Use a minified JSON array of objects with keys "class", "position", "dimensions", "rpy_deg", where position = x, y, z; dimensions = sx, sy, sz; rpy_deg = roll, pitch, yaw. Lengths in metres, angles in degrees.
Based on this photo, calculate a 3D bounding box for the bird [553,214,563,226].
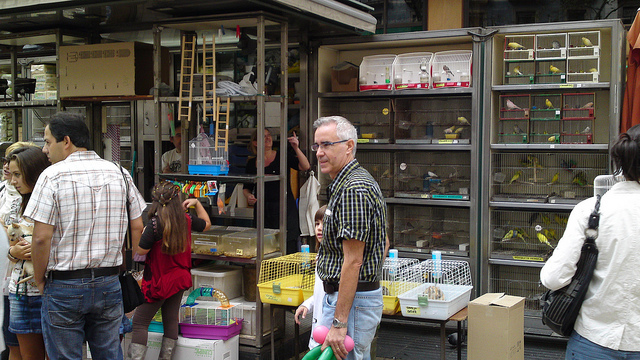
[{"class":"bird","position":[3.338,0.557,7.694],"dimensions":[0.101,0.135,0.039],"rpy_deg":[3,5,20]}]

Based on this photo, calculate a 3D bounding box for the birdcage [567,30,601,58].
[{"class":"birdcage","position":[3.574,-1.816,7.438],"dimensions":[0.408,0.360,0.480],"rpy_deg":[3,5,26]}]

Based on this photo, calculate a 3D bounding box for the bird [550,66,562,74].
[{"class":"bird","position":[3.228,-1.508,7.547],"dimensions":[0.146,0.112,0.345],"rpy_deg":[3,6,27]}]

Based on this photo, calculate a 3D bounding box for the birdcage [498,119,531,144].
[{"class":"birdcage","position":[2.754,-0.696,7.757],"dimensions":[0.442,0.322,0.255],"rpy_deg":[4,19,40]}]

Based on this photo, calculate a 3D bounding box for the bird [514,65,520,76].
[{"class":"bird","position":[2.733,-1.519,7.637],"dimensions":[0.066,0.136,0.237],"rpy_deg":[3,5,20]}]

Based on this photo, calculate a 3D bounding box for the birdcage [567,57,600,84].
[{"class":"birdcage","position":[3.609,-1.532,7.526],"dimensions":[0.153,0.410,0.452],"rpy_deg":[-5,10,-44]}]

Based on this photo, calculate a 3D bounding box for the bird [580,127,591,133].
[{"class":"bird","position":[3.582,-0.664,7.426],"dimensions":[0.054,0.071,0.167],"rpy_deg":[-24,14,-6]}]

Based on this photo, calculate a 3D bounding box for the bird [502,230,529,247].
[{"class":"bird","position":[2.765,0.810,7.781],"dimensions":[0.404,0.217,0.128],"rpy_deg":[-1,5,-24]}]

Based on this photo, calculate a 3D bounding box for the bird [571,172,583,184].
[{"class":"bird","position":[3.602,-0.021,7.698],"dimensions":[0.133,0.155,0.129],"rpy_deg":[2,5,19]}]

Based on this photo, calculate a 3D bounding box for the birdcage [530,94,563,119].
[{"class":"birdcage","position":[3.173,-1.017,7.675],"dimensions":[0.465,0.332,0.255],"rpy_deg":[4,9,38]}]

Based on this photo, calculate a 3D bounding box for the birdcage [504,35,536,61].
[{"class":"birdcage","position":[2.802,-1.814,7.576],"dimensions":[0.137,0.338,0.407],"rpy_deg":[-22,23,-40]}]

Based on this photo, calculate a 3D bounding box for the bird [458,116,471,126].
[{"class":"bird","position":[2.087,-0.857,8.010],"dimensions":[0.165,0.135,0.255],"rpy_deg":[4,6,29]}]

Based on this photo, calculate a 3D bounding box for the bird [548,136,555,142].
[{"class":"bird","position":[3.147,-0.554,7.474],"dimensions":[0.060,0.088,0.165],"rpy_deg":[-15,2,9]}]

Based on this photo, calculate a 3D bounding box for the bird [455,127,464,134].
[{"class":"bird","position":[1.998,-0.712,7.916],"dimensions":[0.163,0.044,0.091],"rpy_deg":[-5,29,-43]}]

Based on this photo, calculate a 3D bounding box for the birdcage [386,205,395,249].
[{"class":"birdcage","position":[1.053,0.688,8.137],"dimensions":[0.108,0.626,0.192],"rpy_deg":[2,5,8]}]

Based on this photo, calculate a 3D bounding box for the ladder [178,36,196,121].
[{"class":"ladder","position":[-1.763,-1.361,7.400],"dimensions":[0.218,1.387,0.175],"rpy_deg":[0,0,8]}]

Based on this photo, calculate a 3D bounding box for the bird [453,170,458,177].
[{"class":"bird","position":[2.015,-0.091,8.163],"dimensions":[0.071,0.068,0.042],"rpy_deg":[2,-1,4]}]

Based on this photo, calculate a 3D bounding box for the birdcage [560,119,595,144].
[{"class":"birdcage","position":[3.488,-0.653,7.464],"dimensions":[0.436,0.334,0.511],"rpy_deg":[3,5,25]}]

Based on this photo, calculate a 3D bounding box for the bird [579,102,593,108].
[{"class":"bird","position":[3.609,-1.001,7.450],"dimensions":[0.166,0.050,0.069],"rpy_deg":[-16,40,-26]}]

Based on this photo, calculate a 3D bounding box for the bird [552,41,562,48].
[{"class":"bird","position":[3.236,-1.834,7.508],"dimensions":[0.133,0.128,0.097],"rpy_deg":[-4,5,0]}]

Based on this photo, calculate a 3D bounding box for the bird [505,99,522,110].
[{"class":"bird","position":[2.670,-1.047,7.617],"dimensions":[0.206,0.156,0.444],"rpy_deg":[2,5,18]}]

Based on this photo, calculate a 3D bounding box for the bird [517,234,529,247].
[{"class":"bird","position":[2.859,0.834,7.777],"dimensions":[0.129,0.134,0.123],"rpy_deg":[3,5,20]}]

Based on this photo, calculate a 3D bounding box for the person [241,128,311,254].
[{"class":"person","position":[-0.594,0.180,7.631],"dimensions":[0.957,1.726,0.850],"rpy_deg":[0,5,-7]}]

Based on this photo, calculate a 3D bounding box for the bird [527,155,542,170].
[{"class":"bird","position":[3.074,-0.247,7.861],"dimensions":[0.060,0.049,0.456],"rpy_deg":[26,1,44]}]

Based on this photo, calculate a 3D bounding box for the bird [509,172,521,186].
[{"class":"bird","position":[2.766,-0.027,7.811],"dimensions":[0.119,0.161,0.322],"rpy_deg":[3,5,21]}]

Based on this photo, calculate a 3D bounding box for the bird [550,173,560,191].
[{"class":"bird","position":[3.297,-0.027,7.733],"dimensions":[0.062,0.130,0.290],"rpy_deg":[4,6,33]}]

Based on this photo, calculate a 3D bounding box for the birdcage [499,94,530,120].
[{"class":"birdcage","position":[2.704,-0.997,7.595],"dimensions":[0.416,0.343,0.141],"rpy_deg":[4,10,35]}]

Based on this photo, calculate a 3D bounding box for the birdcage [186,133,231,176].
[{"class":"birdcage","position":[-1.466,-0.352,7.387],"dimensions":[0.520,0.532,0.337],"rpy_deg":[0,7,14]}]

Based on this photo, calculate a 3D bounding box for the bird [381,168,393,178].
[{"class":"bird","position":[0.950,-0.098,8.221],"dimensions":[0.207,0.155,0.206],"rpy_deg":[-4,7,-44]}]

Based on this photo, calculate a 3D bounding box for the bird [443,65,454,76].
[{"class":"bird","position":[1.790,-1.515,7.667],"dimensions":[0.045,0.168,0.055],"rpy_deg":[-54,1,-41]}]

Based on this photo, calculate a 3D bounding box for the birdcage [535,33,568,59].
[{"class":"birdcage","position":[3.180,-1.831,7.543],"dimensions":[0.383,0.318,0.127],"rpy_deg":[-1,-4,31]}]

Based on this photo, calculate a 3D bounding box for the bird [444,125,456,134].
[{"class":"bird","position":[1.881,-0.727,7.942],"dimensions":[0.096,0.043,0.133],"rpy_deg":[-9,13,32]}]

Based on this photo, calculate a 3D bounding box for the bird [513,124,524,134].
[{"class":"bird","position":[2.762,-0.703,7.643],"dimensions":[0.132,0.132,0.228],"rpy_deg":[3,5,20]}]

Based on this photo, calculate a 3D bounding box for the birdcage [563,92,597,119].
[{"class":"birdcage","position":[3.542,-1.008,7.513],"dimensions":[0.419,0.363,0.420],"rpy_deg":[3,5,26]}]

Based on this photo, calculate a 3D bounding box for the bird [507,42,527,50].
[{"class":"bird","position":[2.734,-1.837,7.590],"dimensions":[0.411,0.100,0.167],"rpy_deg":[-4,7,-43]}]

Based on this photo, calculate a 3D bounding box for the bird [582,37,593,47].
[{"class":"bird","position":[3.596,-1.845,7.403],"dimensions":[0.126,0.153,0.263],"rpy_deg":[3,5,25]}]

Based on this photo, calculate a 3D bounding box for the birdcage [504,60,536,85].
[{"class":"birdcage","position":[2.761,-1.474,7.599],"dimensions":[0.399,0.331,0.360],"rpy_deg":[2,5,18]}]

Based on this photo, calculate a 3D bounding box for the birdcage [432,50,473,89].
[{"class":"birdcage","position":[1.851,-1.542,7.682],"dimensions":[0.543,0.533,0.287],"rpy_deg":[2,5,17]}]

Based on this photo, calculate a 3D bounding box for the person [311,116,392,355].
[{"class":"person","position":[0.271,0.522,4.928],"dimensions":[0.654,2.162,0.427],"rpy_deg":[1,5,-1]}]

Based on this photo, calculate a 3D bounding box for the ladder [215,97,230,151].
[{"class":"ladder","position":[-1.242,-0.789,7.097],"dimensions":[0.153,0.639,0.035],"rpy_deg":[4,29,-8]}]
